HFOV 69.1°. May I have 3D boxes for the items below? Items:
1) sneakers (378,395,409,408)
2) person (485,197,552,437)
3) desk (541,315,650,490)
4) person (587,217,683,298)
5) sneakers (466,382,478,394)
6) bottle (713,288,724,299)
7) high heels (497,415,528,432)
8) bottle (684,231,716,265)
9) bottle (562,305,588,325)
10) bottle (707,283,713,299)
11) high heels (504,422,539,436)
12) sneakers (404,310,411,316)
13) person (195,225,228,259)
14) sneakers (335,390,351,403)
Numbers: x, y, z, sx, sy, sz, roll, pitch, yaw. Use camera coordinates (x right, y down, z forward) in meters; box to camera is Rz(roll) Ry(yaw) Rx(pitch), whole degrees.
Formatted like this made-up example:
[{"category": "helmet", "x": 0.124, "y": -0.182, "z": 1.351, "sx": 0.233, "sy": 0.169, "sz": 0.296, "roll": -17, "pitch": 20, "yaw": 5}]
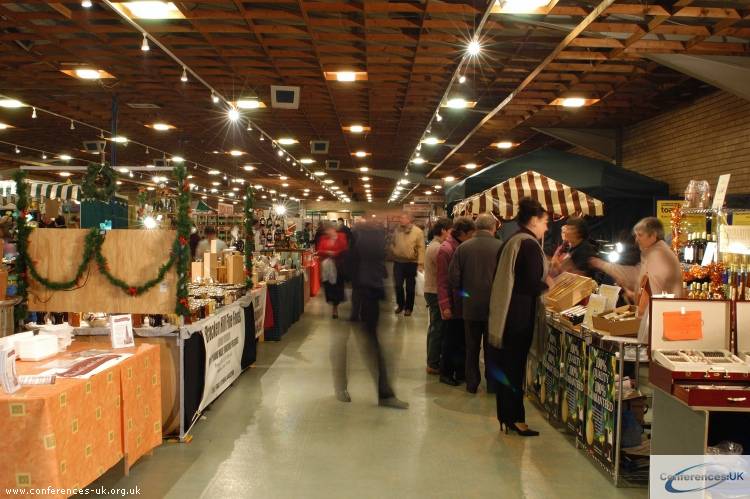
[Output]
[{"category": "sneakers", "x": 0.203, "y": 1.686, "z": 6.052, "sx": 0.343, "sy": 0.126, "sz": 0.113, "roll": -1, "pitch": -6, "yaw": 11}, {"category": "person", "x": 1.389, "y": 0.668, "z": 5.392, "sx": 0.530, "sy": 2.351, "sz": 0.415, "roll": 1, "pitch": 7, "yaw": 5}, {"category": "desk", "x": 2.002, "y": 1.403, "z": 4.927, "sx": 0.431, "sy": 0.765, "sz": 1.543, "roll": -1, "pitch": 5, "yaw": -7}, {"category": "person", "x": 2.647, "y": 0.091, "z": 5.619, "sx": 0.795, "sy": 0.888, "sz": 1.625, "roll": 3, "pitch": 8, "yaw": 20}, {"category": "sneakers", "x": 1.143, "y": 1.654, "z": 6.476, "sx": 0.101, "sy": 0.088, "sz": 0.120, "roll": 2, "pitch": -7, "yaw": -4}, {"category": "bottle", "x": 2.931, "y": 0.371, "z": 4.671, "sx": 0.093, "sy": 0.082, "sz": 0.051, "roll": 0, "pitch": -6, "yaw": 24}, {"category": "high heels", "x": 1.374, "y": 1.766, "z": 5.504, "sx": 0.395, "sy": 0.155, "sz": 0.118, "roll": -4, "pitch": -5, "yaw": 10}, {"category": "bottle", "x": 3.160, "y": -0.023, "z": 5.330, "sx": 0.337, "sy": 0.298, "sz": 0.311, "roll": 0, "pitch": 0, "yaw": -36}, {"category": "bottle", "x": 1.973, "y": 0.638, "z": 5.406, "sx": 0.174, "sy": 0.049, "sz": 0.174, "roll": -18, "pitch": 12, "yaw": 4}, {"category": "bottle", "x": 2.954, "y": 0.351, "z": 4.820, "sx": 0.045, "sy": 0.140, "sz": 0.207, "roll": 5, "pitch": 8, "yaw": 30}, {"category": "high heels", "x": 1.444, "y": 1.791, "z": 5.462, "sx": 0.367, "sy": 0.100, "sz": 0.126, "roll": -1, "pitch": -4, "yaw": 16}, {"category": "sneakers", "x": 0.647, "y": 1.276, "z": 11.049, "sx": 0.106, "sy": 0.093, "sz": 0.318, "roll": 0, "pitch": 0, "yaw": 3}, {"category": "person", "x": -3.170, "y": -0.172, "z": 10.649, "sx": 0.538, "sy": 0.318, "sz": 1.068, "roll": 15, "pitch": 27, "yaw": -15}, {"category": "sneakers", "x": -0.358, "y": 1.658, "z": 6.189, "sx": 0.167, "sy": 0.089, "sz": 0.176, "roll": 0, "pitch": 7, "yaw": -3}]
